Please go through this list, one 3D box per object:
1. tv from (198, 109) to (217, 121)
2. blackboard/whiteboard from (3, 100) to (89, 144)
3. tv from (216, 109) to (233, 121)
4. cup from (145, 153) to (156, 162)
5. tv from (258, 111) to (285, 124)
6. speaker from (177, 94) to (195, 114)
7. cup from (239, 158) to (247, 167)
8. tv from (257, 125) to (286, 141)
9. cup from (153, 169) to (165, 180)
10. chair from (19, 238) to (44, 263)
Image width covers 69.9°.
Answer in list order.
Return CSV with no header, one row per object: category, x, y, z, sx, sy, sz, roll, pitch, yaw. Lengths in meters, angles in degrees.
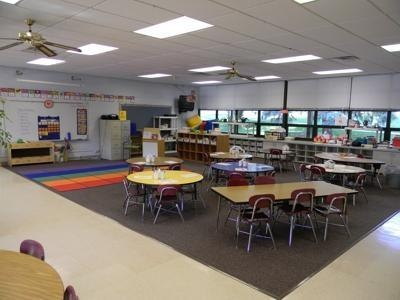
tv,0.411,-1.905,15.622,1.124,0.569,0.321,11,15,42
blackboard/whiteboard,-5.919,-1.075,10.761,2.056,1.102,0.040,-1,3,-41
tv,1.348,-1.770,14.711,0.610,0.560,1.505,-2,11,-15
cup,-1.299,0.209,7.459,0.254,0.189,0.259,0,5,0
tv,3.352,-1.500,13.319,0.329,0.599,1.212,-7,13,-34
speaker,-0.765,-2.367,14.986,0.842,0.972,0.720,-2,11,-14
cup,1.112,0.325,7.365,0.179,0.251,0.175,-1,9,0
tv,3.271,-0.757,12.649,0.652,0.803,1.148,1,0,-31
cup,-0.894,0.513,6.200,0.222,0.213,0.222,3,2,0
chair,-1.906,1.112,3.246,0.296,0.220,0.193,4,1,32
